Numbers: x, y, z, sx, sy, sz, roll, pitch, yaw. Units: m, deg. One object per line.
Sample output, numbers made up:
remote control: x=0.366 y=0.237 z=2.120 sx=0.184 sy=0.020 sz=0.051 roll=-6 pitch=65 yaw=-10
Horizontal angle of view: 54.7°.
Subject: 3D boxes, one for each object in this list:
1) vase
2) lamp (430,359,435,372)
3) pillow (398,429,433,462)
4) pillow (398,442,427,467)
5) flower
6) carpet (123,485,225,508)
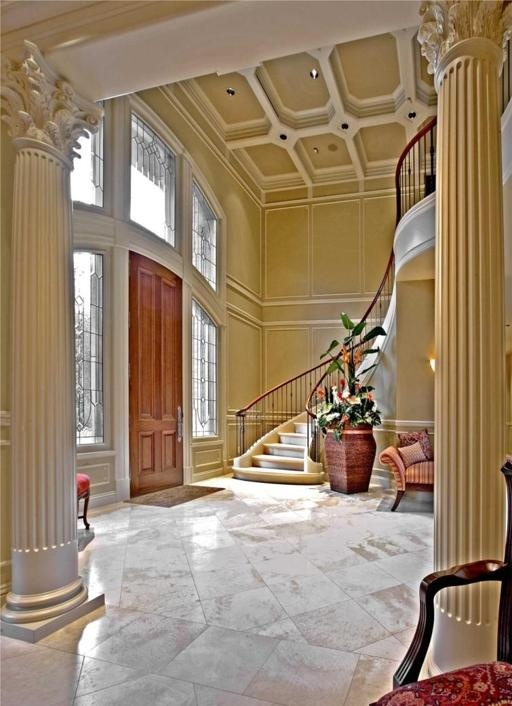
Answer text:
vase: x=1.239 y=1.383 z=6.574 sx=0.533 sy=0.896 sz=0.544 roll=3 pitch=-5 yaw=-36
lamp: x=2.293 y=0.152 z=6.461 sx=0.034 sy=0.141 sz=0.075 roll=0 pitch=-6 yaw=5
pillow: x=1.886 y=1.054 z=5.743 sx=0.115 sy=0.366 sz=0.313 roll=2 pitch=-6 yaw=-40
pillow: x=1.712 y=1.113 z=5.429 sx=0.234 sy=0.183 sz=0.074 roll=0 pitch=-31 yaw=-41
flower: x=1.311 y=0.483 z=6.737 sx=0.743 sy=1.279 sz=0.770 roll=6 pitch=1 yaw=28
carpet: x=-0.961 y=1.721 z=6.010 sx=0.693 sy=0.040 sz=1.501 roll=-2 pitch=-7 yaw=20
